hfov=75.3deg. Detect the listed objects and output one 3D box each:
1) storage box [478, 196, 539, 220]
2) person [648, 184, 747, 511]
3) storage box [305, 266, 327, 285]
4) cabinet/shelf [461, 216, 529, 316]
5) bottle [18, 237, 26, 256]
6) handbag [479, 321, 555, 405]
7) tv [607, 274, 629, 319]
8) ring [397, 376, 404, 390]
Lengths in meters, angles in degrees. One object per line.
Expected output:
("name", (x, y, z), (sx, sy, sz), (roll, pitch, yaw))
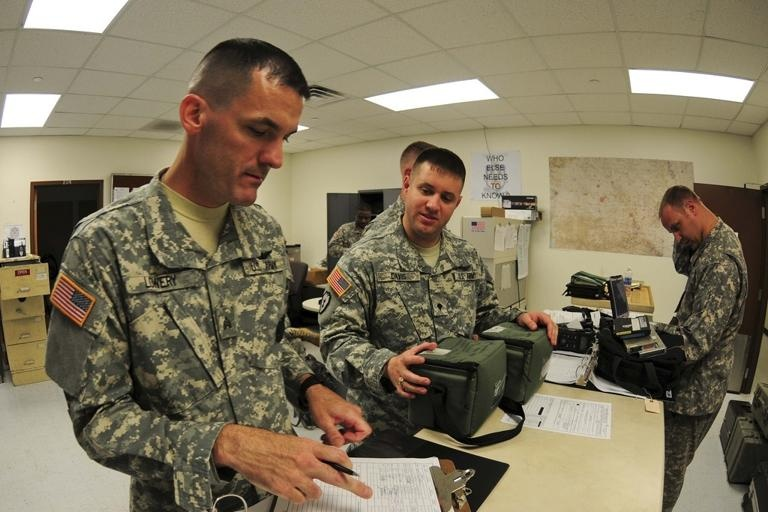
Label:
("storage box", (1.688, -0.598, 6.276), (0.573, 0.249, 0.547), (-1, 2, -17))
("person", (2.088, 0.670, 3.297), (0.511, 2.274, 0.831), (2, 0, 29))
("storage box", (-0.974, 0.287, 7.056), (0.239, 0.160, 0.242), (6, 7, 37))
("cabinet/shelf", (1.189, 0.140, 5.404), (0.478, 1.072, 1.232), (5, 5, 29))
("bottle", (-4.320, -0.101, 5.911), (0.077, 0.201, 0.212), (2, 0, -36))
("handbag", (0.657, 0.563, 2.753), (0.307, 0.366, 0.438), (8, -1, 33))
("tv", (1.812, 0.332, 3.843), (0.044, 0.312, 0.333), (-5, -6, 32))
("ring", (0.082, 0.605, 2.373), (0.035, 0.035, 0.042), (0, 1, -1))
